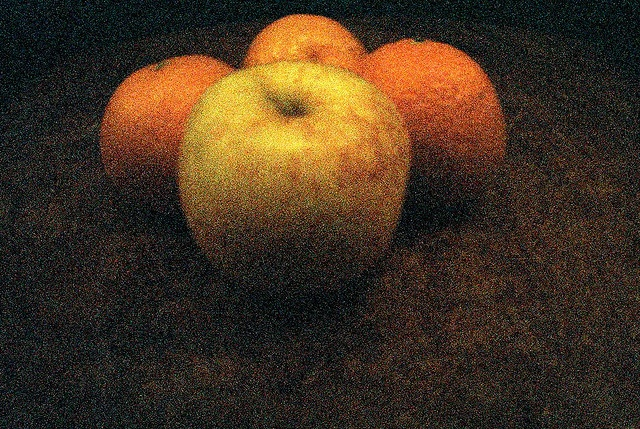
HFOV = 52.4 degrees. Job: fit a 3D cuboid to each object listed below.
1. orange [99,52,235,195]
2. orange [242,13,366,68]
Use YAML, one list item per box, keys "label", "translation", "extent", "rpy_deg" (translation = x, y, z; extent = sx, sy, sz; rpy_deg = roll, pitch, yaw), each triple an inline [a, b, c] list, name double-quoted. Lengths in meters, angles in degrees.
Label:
- label: "orange"
  translation: [-0.326, -0.209, 1.450]
  extent: [0.247, 0.265, 0.262]
  rpy_deg: [3, 101, 3]
- label: "orange"
  translation: [-0.042, -0.388, 1.530]
  extent: [0.246, 0.262, 0.142]
  rpy_deg: [3, 94, 29]
